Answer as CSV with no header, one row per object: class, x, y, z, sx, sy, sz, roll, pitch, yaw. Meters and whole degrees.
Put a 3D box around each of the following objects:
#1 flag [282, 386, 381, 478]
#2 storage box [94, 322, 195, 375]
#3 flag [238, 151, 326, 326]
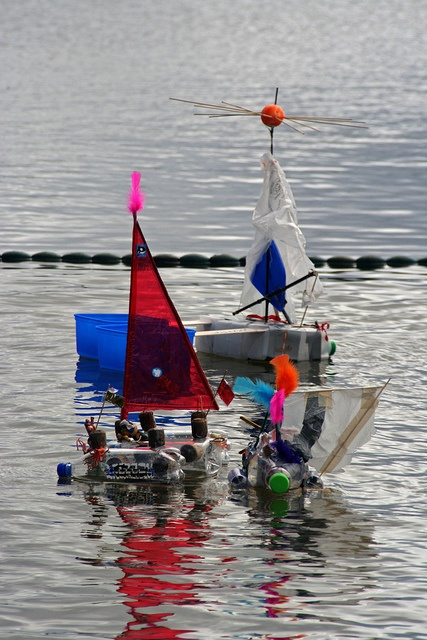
flag,1.399,1.394,16.797,1.545,1.206,0.116,-2,26,-30
storage box,-1.568,0.532,23.609,1.085,0.744,0.500,10,87,22
flag,1.158,-1.211,24.632,1.362,3.039,1.965,-7,54,-2
